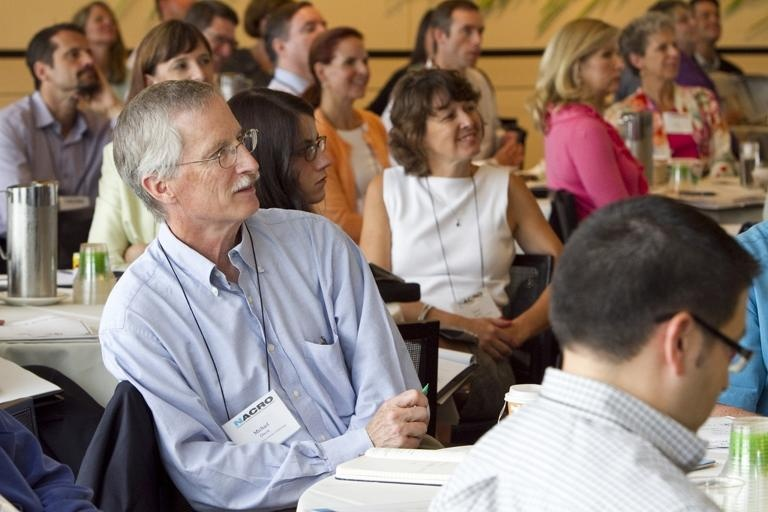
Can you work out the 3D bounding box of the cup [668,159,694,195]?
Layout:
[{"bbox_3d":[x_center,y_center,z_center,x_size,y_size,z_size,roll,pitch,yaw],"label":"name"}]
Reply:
[{"bbox_3d":[1.686,-0.455,3.964,0.174,0.199,0.176,-1,10,0],"label":"cup"}]

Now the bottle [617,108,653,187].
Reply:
[{"bbox_3d":[1.289,-0.546,3.611,0.168,0.361,0.354,0,6,20],"label":"bottle"}]

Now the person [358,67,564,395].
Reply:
[{"bbox_3d":[0.342,-0.081,2.880,0.851,1.335,0.926,-3,22,0],"label":"person"}]

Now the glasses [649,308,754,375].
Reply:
[{"bbox_3d":[0.461,0.150,1.016,0.107,0.033,0.109,37,12,7],"label":"glasses"}]

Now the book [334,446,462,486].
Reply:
[{"bbox_3d":[0.038,0.427,1.431,0.128,0.021,0.147,0,3,16],"label":"book"}]

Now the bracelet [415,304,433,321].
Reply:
[{"bbox_3d":[0.154,0.217,2.718,0.019,0.050,0.056,23,45,-8],"label":"bracelet"}]
